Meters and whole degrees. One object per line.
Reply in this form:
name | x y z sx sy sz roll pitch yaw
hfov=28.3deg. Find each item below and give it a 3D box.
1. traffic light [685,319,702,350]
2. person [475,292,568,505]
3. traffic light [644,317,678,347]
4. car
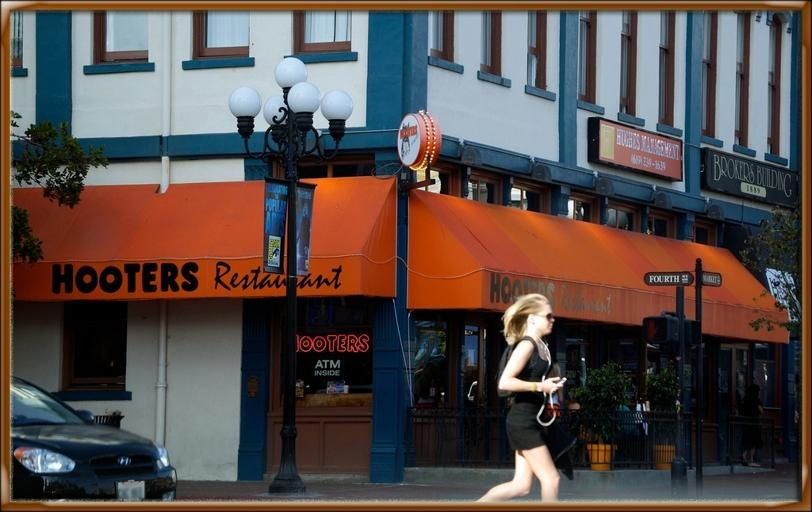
traffic light | 5.722 1.517 32.100 0.296 0.477 0.518 -4 -13 13
person | 1.976 2.254 26.062 1.094 3.379 0.797 -2 -13 3
traffic light | 5.052 1.518 32.057 0.684 0.614 0.537 1 -3 -11
car | -5.324 3.110 26.425 2.705 1.176 1.668 -7 -10 34
